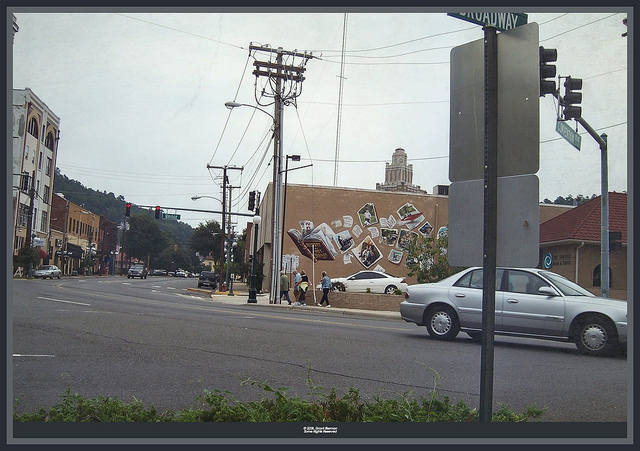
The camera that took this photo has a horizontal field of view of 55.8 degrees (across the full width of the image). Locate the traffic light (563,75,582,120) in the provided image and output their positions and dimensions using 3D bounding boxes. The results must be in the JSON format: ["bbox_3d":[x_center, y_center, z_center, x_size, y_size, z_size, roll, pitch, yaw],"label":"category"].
[{"bbox_3d":[5.291,-2.691,12.638,0.345,0.870,0.885,0,-6,21],"label":"traffic light"}]

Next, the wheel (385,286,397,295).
[{"bbox_3d":[3.524,3.173,30.150,0.528,0.345,0.344,2,-6,7],"label":"wheel"}]

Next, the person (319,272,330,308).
[{"bbox_3d":[0.235,2.882,27.502,0.462,1.524,1.374,2,-6,0],"label":"person"}]

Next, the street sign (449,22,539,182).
[{"bbox_3d":[2.136,-1.491,7.439,1.063,1.888,0.145,-1,-6,30],"label":"street sign"}]

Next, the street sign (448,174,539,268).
[{"bbox_3d":[2.094,-0.016,7.308,1.001,1.103,0.113,-2,-15,16],"label":"street sign"}]

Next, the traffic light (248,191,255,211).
[{"bbox_3d":[-3.487,-1.262,30.695,0.258,0.940,0.554,3,-6,-4],"label":"traffic light"}]

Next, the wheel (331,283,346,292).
[{"bbox_3d":[0.963,3.159,31.109,0.482,0.536,0.169,1,4,9],"label":"wheel"}]

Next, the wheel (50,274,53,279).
[{"bbox_3d":[-12.316,2.296,27.595,0.107,0.336,0.315,8,-7,-31],"label":"wheel"}]

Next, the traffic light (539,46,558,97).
[{"bbox_3d":[2.896,-1.951,7.663,0.192,0.722,0.513,0,-6,22],"label":"traffic light"}]

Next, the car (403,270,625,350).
[{"bbox_3d":[4.363,1.768,13.906,5.141,1.763,2.126,-4,-12,33],"label":"car"}]

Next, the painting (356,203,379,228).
[{"bbox_3d":[3.047,-0.656,39.507,1.143,1.677,0.119,-14,-9,-14],"label":"painting"}]

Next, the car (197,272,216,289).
[{"bbox_3d":[-9.527,4.557,50.916,1.452,1.421,1.992,4,-6,-10],"label":"car"}]

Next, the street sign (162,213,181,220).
[{"bbox_3d":[-9.647,-0.627,38.994,1.083,0.440,1.919,4,-7,-14],"label":"street sign"}]

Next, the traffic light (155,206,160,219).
[{"bbox_3d":[-10.453,-0.846,38.691,0.288,0.645,0.951,4,-6,-15],"label":"traffic light"}]

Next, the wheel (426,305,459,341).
[{"bbox_3d":[2.911,2.255,14.213,0.772,0.833,0.254,7,-2,45],"label":"wheel"}]
